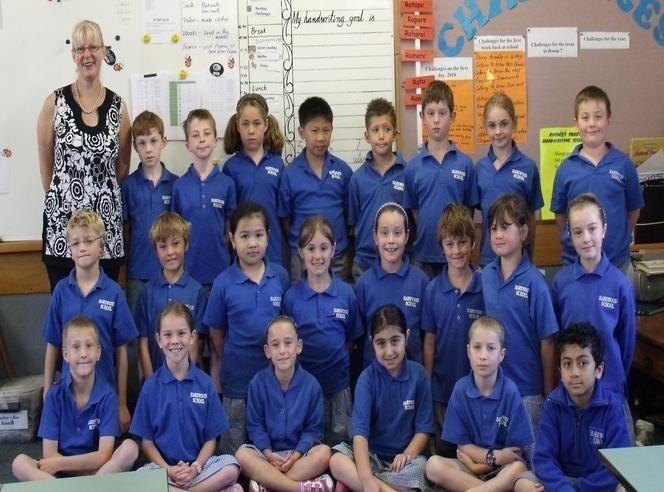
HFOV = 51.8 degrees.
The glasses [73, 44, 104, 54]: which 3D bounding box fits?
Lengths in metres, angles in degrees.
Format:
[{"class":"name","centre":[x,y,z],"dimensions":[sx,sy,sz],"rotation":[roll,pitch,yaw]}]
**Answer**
[{"class":"glasses","centre":[-1.345,-1.087,3.802],"dimensions":[0.153,0.042,0.047],"rotation":[-7,10,-19]}]
